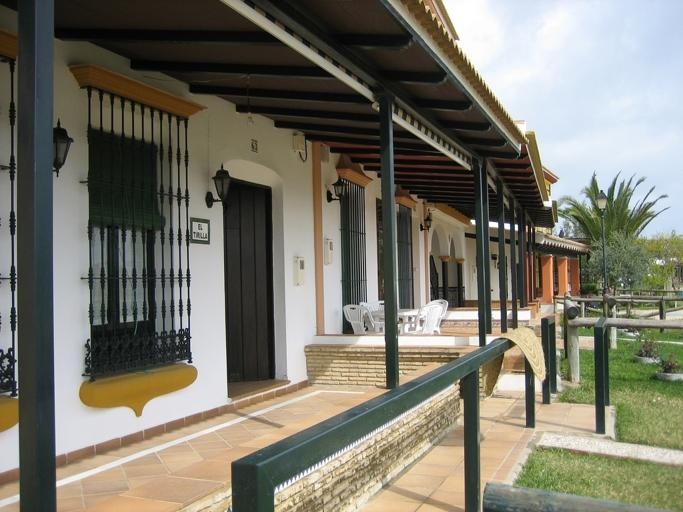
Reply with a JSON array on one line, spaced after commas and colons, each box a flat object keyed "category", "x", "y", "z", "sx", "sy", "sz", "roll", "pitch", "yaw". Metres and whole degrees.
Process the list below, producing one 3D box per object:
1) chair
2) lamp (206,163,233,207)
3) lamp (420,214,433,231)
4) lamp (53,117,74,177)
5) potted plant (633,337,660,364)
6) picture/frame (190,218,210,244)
[{"category": "chair", "x": 0.949, "y": 1.096, "z": 10.352, "sx": 1.166, "sy": 0.579, "sz": 0.954, "roll": -3, "pitch": -6, "yaw": 24}, {"category": "lamp", "x": -1.558, "y": -0.895, "z": 7.557, "sx": 0.305, "sy": 0.583, "sz": 0.293, "roll": -2, "pitch": -4, "yaw": 10}, {"category": "lamp", "x": 2.274, "y": -0.880, "z": 15.786, "sx": 0.242, "sy": 0.457, "sz": 0.724, "roll": -3, "pitch": -4, "yaw": 24}, {"category": "lamp", "x": -2.686, "y": -1.053, "z": 5.722, "sx": 0.171, "sy": 0.534, "sz": 0.315, "roll": 0, "pitch": -4, "yaw": -27}, {"category": "potted plant", "x": 6.538, "y": 2.077, "z": 12.565, "sx": 0.534, "sy": 0.655, "sz": 0.606, "roll": 2, "pitch": 0, "yaw": 2}, {"category": "picture/frame", "x": -1.772, "y": -0.310, "z": 7.330, "sx": 0.025, "sy": 0.264, "sz": 0.265, "roll": -4, "pitch": -6, "yaw": 28}]
